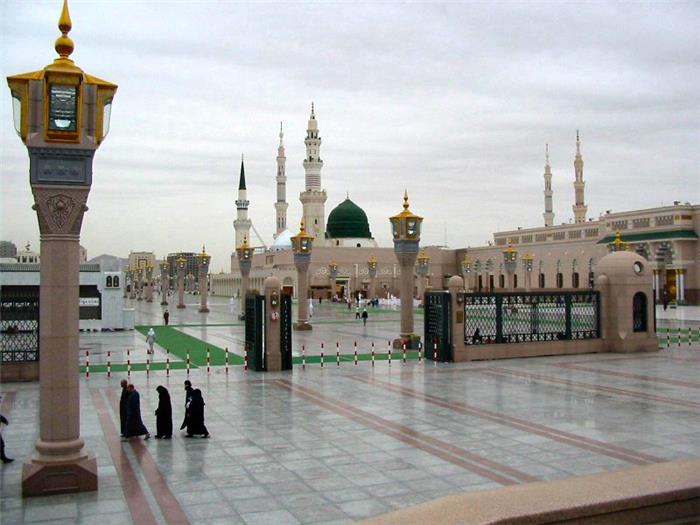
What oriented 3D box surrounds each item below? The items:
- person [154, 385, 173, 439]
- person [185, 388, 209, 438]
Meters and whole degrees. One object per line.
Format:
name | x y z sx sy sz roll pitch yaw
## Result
person | -4.035 3.187 16.044 0.387 1.146 1.014 0 -2 -14
person | -3.340 3.249 16.162 0.491 1.002 0.489 0 -2 -12
